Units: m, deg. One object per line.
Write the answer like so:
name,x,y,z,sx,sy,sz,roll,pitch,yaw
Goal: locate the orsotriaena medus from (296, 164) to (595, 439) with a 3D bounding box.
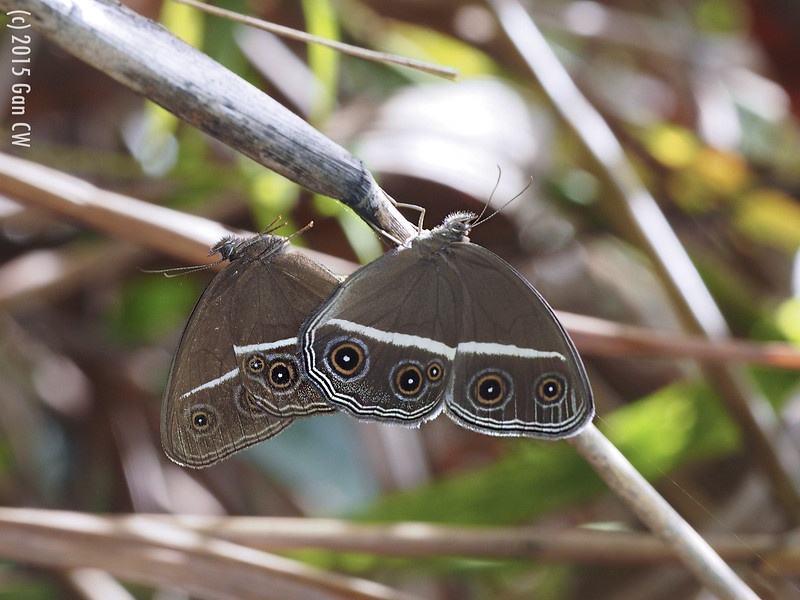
orsotriaena medus,0.061,0.042,1.196,0.373,0.128,0.245,10,71,0
